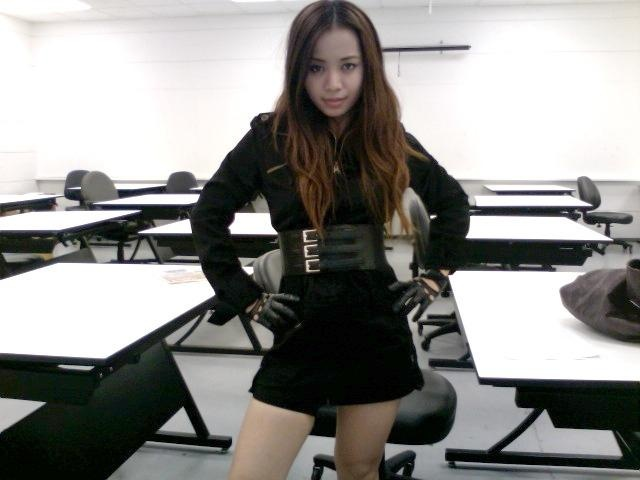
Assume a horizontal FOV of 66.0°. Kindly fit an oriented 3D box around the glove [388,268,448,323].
[{"bbox_3d":[0.318,0.181,1.672,0.205,0.132,0.066,-47,3,-15],"label":"glove"}]
